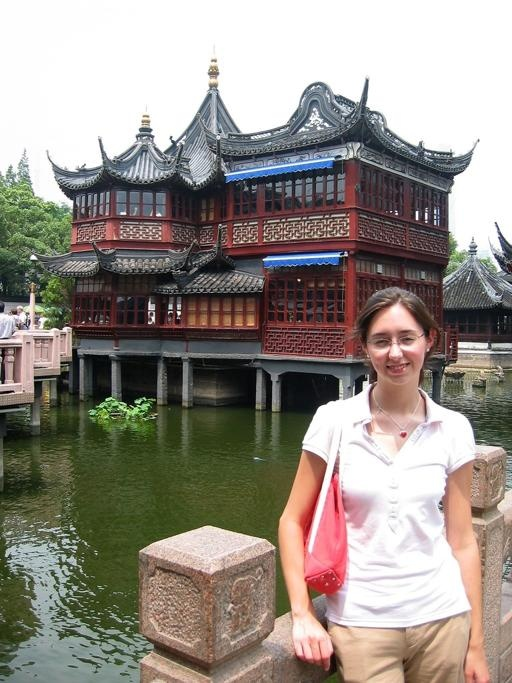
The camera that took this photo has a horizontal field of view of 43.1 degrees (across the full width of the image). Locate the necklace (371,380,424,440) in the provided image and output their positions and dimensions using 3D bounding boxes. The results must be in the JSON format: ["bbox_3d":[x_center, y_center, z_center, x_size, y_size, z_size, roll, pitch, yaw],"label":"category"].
[{"bbox_3d":[0.495,0.249,2.318,0.153,0.205,0.089,0,-10,0],"label":"necklace"}]

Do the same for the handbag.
[{"bbox_3d":[0.215,0.607,2.060,0.133,0.334,0.167,1,3,-6],"label":"handbag"}]
